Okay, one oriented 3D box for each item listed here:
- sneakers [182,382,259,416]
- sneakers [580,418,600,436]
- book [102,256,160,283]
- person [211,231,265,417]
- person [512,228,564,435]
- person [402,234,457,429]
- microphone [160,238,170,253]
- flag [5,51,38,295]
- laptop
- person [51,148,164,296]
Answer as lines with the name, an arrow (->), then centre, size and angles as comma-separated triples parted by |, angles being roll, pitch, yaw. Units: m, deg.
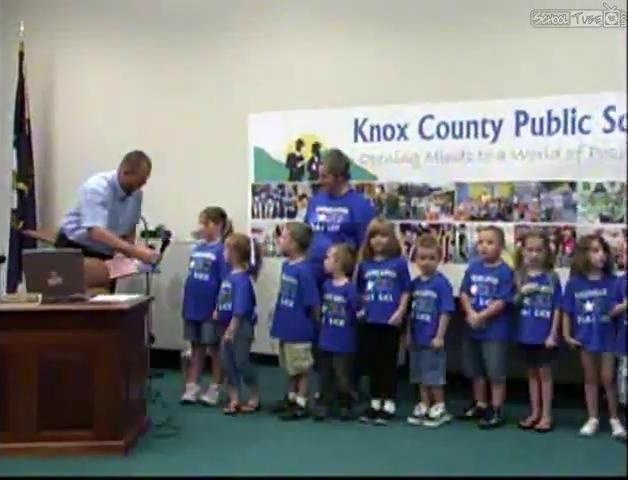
sneakers -> -0.582, 1.034, 4.548 | 0.324, 0.157, 0.109 | 14, 3, 12
sneakers -> 1.614, 1.094, 4.142 | 0.154, 0.065, 0.056 | -12, -2, -43
book -> -1.277, 0.194, 4.818 | 0.283, 0.132, 0.176 | -1, -4, -17
person -> -0.498, 0.531, 4.592 | 0.252, 1.111, 0.365 | -1, 3, -9
person -> 1.359, 0.557, 4.278 | 0.272, 1.116, 0.311 | 0, 3, 12
person -> 0.717, 0.560, 4.366 | 0.276, 1.106, 0.326 | -1, 3, 11
microphone -> -1.053, 0.040, 5.015 | 0.022, 0.087, 0.060 | 30, -2, -33
flag -> -2.234, -0.521, 5.359 | 0.233, 1.837, 0.157 | 0, 3, 25
laptop -> -1.481, 0.194, 4.035 | 0.317, 0.270, 0.107 | -3, 3, -26
person -> -1.362, -0.112, 4.622 | 0.624, 0.928, 0.606 | -2, 3, -21
